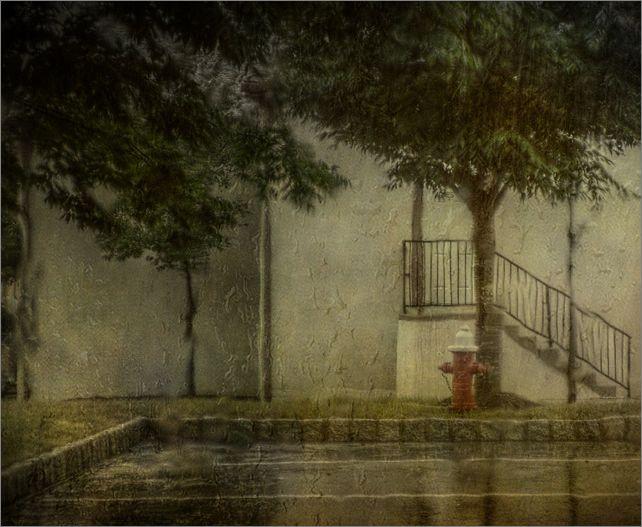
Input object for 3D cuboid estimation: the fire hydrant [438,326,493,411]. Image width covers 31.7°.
[{"bbox_3d":[1.543,1.143,12.165,0.552,0.901,0.212,3,-3,-26],"label":"fire hydrant"}]
